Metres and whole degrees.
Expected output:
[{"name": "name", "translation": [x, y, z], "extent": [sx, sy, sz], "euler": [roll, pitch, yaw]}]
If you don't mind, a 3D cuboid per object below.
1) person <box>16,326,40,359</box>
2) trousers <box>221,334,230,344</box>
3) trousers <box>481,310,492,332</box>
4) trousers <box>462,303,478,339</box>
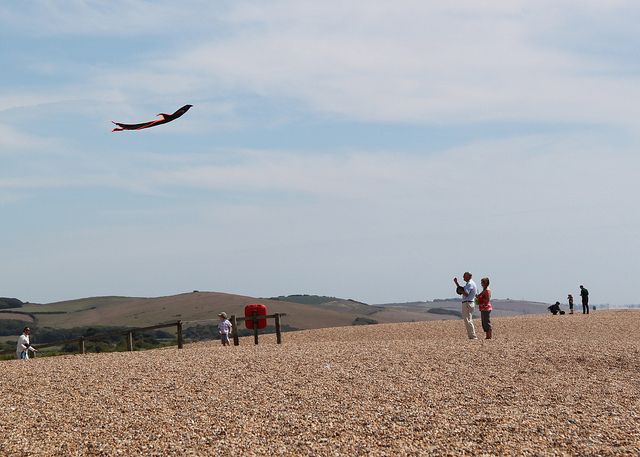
[{"name": "person", "translation": [-9.609, 3.924, 32.192], "extent": [0.758, 1.293, 0.623], "euler": [4, 8, -3]}, {"name": "trousers", "translation": [-3.277, 3.754, 33.527], "extent": [0.202, 0.281, 0.260], "euler": [-4, -5, -2]}, {"name": "trousers", "translation": [5.060, 2.836, 30.226], "extent": [0.289, 0.653, 0.585], "euler": [-5, -5, 7]}, {"name": "trousers", "translation": [4.541, 2.842, 30.254], "extent": [0.345, 1.096, 0.964], "euler": [-5, -5, 5]}]
